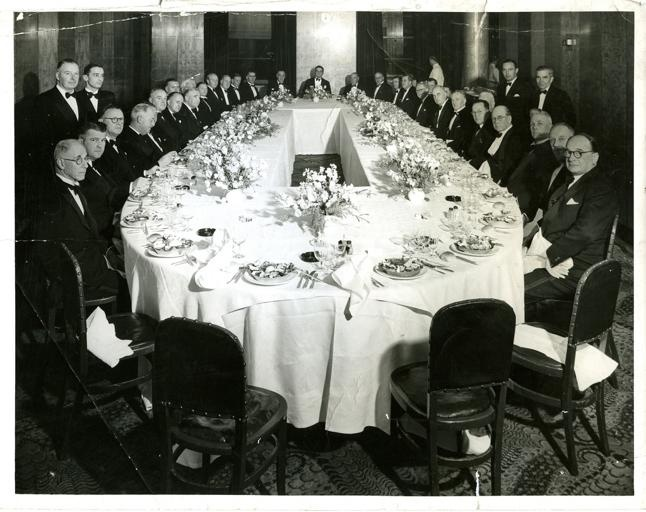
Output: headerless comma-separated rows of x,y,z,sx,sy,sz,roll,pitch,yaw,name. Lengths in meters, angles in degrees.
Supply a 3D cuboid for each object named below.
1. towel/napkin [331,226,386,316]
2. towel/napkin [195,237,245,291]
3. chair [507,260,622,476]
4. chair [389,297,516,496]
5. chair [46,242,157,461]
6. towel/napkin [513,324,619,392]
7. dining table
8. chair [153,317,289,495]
0.229,0.120,3.565,0.308,0.356,0.697,2,16,6,towel/napkin
-0.646,0.070,3.419,0.301,0.270,0.209,-5,16,-19,towel/napkin
1.524,0.637,3.675,0.745,1.343,0.776,-16,17,-41,chair
0.718,0.827,3.181,0.670,1.350,0.493,5,16,20,chair
-1.501,0.701,3.724,0.665,1.418,0.630,-10,38,-29,chair
1.503,0.599,3.454,0.357,0.167,0.631,-8,23,-20,towel/napkin
0.044,0.084,3.712,1.456,0.653,2.631,-1,26,1,dining table
-0.558,0.871,3.169,0.574,1.299,0.657,5,14,17,chair
